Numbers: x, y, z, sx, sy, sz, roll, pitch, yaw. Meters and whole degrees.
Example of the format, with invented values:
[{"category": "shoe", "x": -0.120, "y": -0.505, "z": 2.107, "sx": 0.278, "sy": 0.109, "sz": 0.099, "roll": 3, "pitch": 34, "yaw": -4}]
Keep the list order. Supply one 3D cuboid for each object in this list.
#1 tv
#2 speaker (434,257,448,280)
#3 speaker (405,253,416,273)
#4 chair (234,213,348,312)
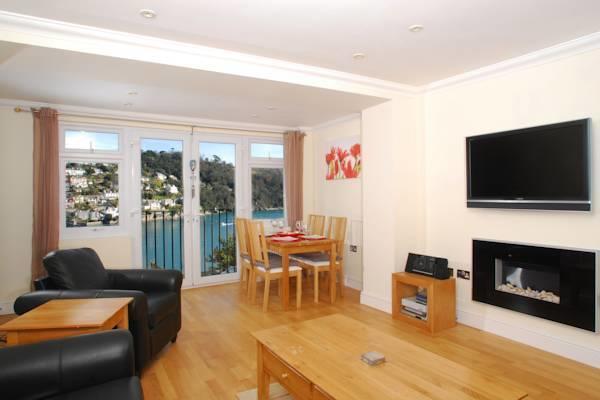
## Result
[{"category": "tv", "x": 2.793, "y": -0.400, "z": 4.688, "sx": 0.123, "sy": 0.891, "sz": 1.220, "roll": 0, "pitch": -2, "yaw": -42}, {"category": "speaker", "x": 1.906, "y": 0.923, "z": 5.231, "sx": 0.183, "sy": 0.267, "sz": 0.142, "roll": 1, "pitch": 2, "yaw": 16}, {"category": "speaker", "x": 1.570, "y": 0.901, "z": 5.615, "sx": 0.132, "sy": 0.261, "sz": 0.242, "roll": 0, "pitch": 2, "yaw": -12}, {"category": "chair", "x": -0.211, "y": 0.970, "z": 6.368, "sx": 1.540, "sy": 1.332, "sz": 1.122, "roll": 0, "pitch": 2, "yaw": -14}]
